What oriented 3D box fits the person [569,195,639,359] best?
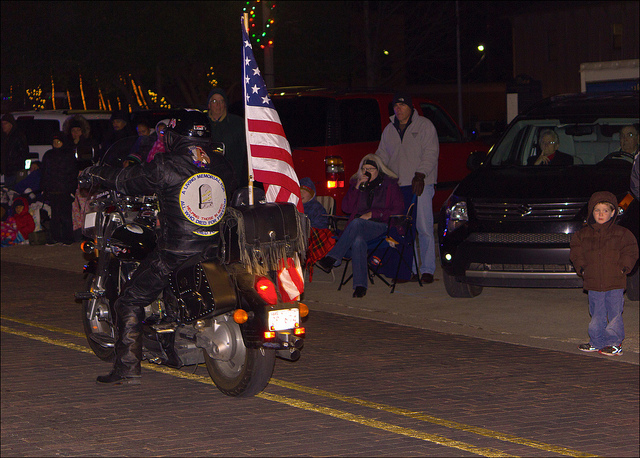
[{"bbox_3d":[3.024,0.484,7.017,0.666,1.691,0.374,2,7,18],"label":"person"}]

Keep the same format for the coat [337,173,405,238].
[{"bbox_3d":[0.839,-0.420,10.295,0.657,1.324,0.664,-5,6,-37],"label":"coat"}]

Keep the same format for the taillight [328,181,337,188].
[{"bbox_3d":[0.245,-0.879,12.915,0.141,0.123,0.036,-2,4,2],"label":"taillight"}]

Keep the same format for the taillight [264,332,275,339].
[{"bbox_3d":[-0.396,0.829,5.177,0.074,0.050,0.015,-2,7,-12],"label":"taillight"}]

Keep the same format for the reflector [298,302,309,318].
[{"bbox_3d":[-0.144,0.668,5.528,0.095,0.117,0.112,-7,-38,0],"label":"reflector"}]

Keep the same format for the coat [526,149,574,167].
[{"bbox_3d":[3.446,-1.045,9.854,0.494,0.219,0.360,1,-1,13],"label":"coat"}]

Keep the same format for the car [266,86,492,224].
[{"bbox_3d":[1.405,-1.900,14.727,4.930,2.428,2.870,-11,11,-39],"label":"car"}]

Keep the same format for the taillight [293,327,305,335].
[{"bbox_3d":[-0.180,0.819,5.351,0.083,0.051,0.057,-1,4,-41],"label":"taillight"}]

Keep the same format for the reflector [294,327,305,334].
[{"bbox_3d":[-0.175,0.821,5.335,0.010,0.037,0.075,3,5,43],"label":"reflector"}]

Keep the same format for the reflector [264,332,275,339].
[{"bbox_3d":[-0.396,0.829,5.177,0.074,0.050,0.015,-2,7,-12],"label":"reflector"}]

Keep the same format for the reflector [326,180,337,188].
[{"bbox_3d":[0.221,-0.887,12.917,0.156,0.138,0.041,-1,-7,4],"label":"reflector"}]

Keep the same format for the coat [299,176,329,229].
[{"bbox_3d":[-0.088,-0.408,10.770,0.478,0.800,0.464,9,19,26],"label":"coat"}]

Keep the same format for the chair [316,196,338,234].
[{"bbox_3d":[0.163,-0.284,11.418,0.493,0.644,0.566,-2,-1,1],"label":"chair"}]

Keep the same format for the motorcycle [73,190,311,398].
[{"bbox_3d":[-1.128,0.578,5.778,1.208,1.626,2.735,1,12,-30],"label":"motorcycle"}]

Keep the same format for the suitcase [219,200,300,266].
[{"bbox_3d":[-0.541,0.027,5.489,0.719,0.523,0.489,-4,5,-32],"label":"suitcase"}]

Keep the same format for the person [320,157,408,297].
[{"bbox_3d":[0.699,-0.074,10.132,1.186,2.070,0.994,0,6,7],"label":"person"}]

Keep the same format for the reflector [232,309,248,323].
[{"bbox_3d":[-0.647,0.696,5.301,0.140,0.105,0.093,3,7,31],"label":"reflector"}]

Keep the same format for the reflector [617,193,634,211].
[{"bbox_3d":[3.923,-0.351,8.485,0.300,0.157,0.069,-40,-6,-31],"label":"reflector"}]

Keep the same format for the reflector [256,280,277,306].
[{"bbox_3d":[-0.425,0.504,5.288,0.129,0.192,0.046,-10,-14,-28],"label":"reflector"}]
